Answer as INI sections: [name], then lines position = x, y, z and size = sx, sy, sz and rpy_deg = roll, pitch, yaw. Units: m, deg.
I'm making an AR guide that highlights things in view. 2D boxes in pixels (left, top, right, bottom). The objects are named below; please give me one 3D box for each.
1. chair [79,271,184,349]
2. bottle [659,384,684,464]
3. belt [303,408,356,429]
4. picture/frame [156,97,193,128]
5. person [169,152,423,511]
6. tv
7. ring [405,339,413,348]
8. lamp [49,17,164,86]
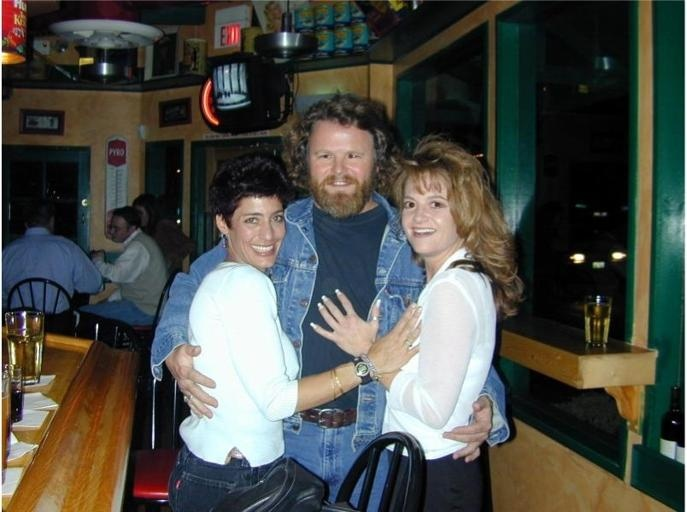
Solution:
[chair]
position = -1.545, 0.377, 4.326
size = 0.514, 0.809, 0.471
rpy_deg = 18, 2, -8
[bottle]
position = 1.424, 0.723, 2.579
size = 0.094, 0.309, 0.170
rpy_deg = 7, 13, 28
[belt]
position = -0.053, 0.657, 2.421
size = 0.107, 0.039, 0.127
rpy_deg = 1, -3, -27
[picture/frame]
position = -1.850, -1.634, 6.649
size = 0.426, 0.298, 0.033
rpy_deg = 1, 2, 33
[person]
position = -0.207, 0.278, 2.148
size = 0.729, 1.255, 0.652
rpy_deg = 4, 12, 18
[tv]
position = -0.849, -1.467, 5.188
size = 0.809, 0.740, 0.454
rpy_deg = 4, 9, 37
[ring]
position = 0.237, 0.314, 2.183
size = 0.031, 0.031, 0.011
rpy_deg = 1, -2, -6
[lamp]
position = -2.239, -2.013, 5.735
size = 0.970, 0.404, 0.950
rpy_deg = -2, 5, -33
